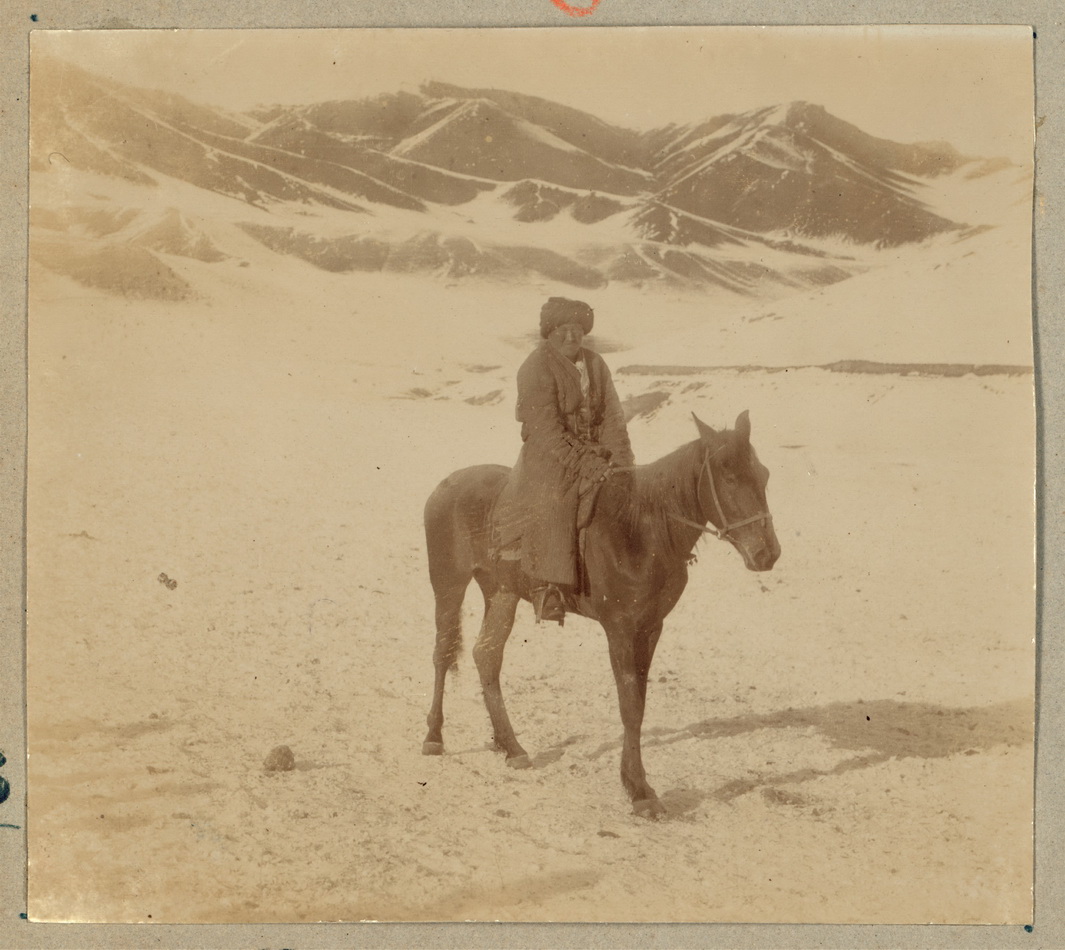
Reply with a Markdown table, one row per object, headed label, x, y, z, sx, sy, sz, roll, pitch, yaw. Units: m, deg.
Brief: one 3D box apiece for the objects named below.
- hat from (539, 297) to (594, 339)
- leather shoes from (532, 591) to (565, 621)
| label | x | y | z | sx | sy | sz | roll | pitch | yaw |
| --- | --- | --- | --- | --- | --- | --- | --- | --- | --- |
| hat | 0.116 | -0.536 | 7.786 | 0.133 | 0.091 | 0.150 | -1 | 5 | -8 |
| leather shoes | 0.051 | 0.448 | 7.704 | 0.078 | 0.111 | 0.117 | 1 | 79 | -10 |
